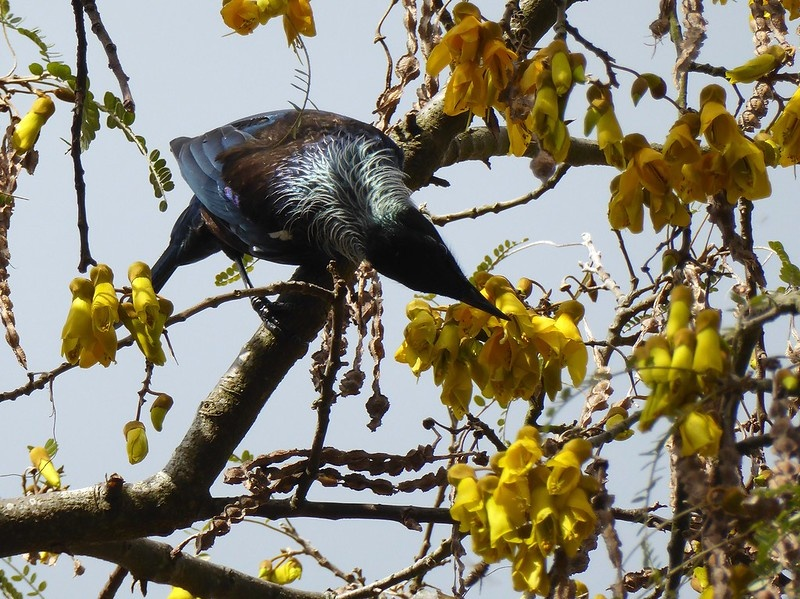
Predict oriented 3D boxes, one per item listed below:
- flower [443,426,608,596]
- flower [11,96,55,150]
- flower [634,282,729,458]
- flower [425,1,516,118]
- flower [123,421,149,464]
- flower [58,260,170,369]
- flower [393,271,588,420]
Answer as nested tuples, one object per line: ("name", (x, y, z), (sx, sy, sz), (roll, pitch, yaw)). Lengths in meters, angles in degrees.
("flower", (0.354, 0.539, 4.522), (0.431, 0.313, 0.293), (-32, -61, 13))
("flower", (-1.180, -0.578, 5.462), (0.070, 0.076, 0.171), (17, -22, -18))
("flower", (0.708, 0.179, 4.214), (0.218, 0.447, 0.250), (4, -37, 3))
("flower", (0.194, -0.669, 4.822), (0.217, 0.155, 0.300), (19, -64, -16))
("flower", (-0.795, 0.381, 5.060), (0.065, 0.054, 0.176), (1, -84, 26))
("flower", (-0.768, 0.046, 4.527), (0.179, 0.163, 0.210), (-42, -41, 20))
("flower", (0.283, 0.130, 4.903), (0.428, 0.453, 0.338), (4, -76, 16))
